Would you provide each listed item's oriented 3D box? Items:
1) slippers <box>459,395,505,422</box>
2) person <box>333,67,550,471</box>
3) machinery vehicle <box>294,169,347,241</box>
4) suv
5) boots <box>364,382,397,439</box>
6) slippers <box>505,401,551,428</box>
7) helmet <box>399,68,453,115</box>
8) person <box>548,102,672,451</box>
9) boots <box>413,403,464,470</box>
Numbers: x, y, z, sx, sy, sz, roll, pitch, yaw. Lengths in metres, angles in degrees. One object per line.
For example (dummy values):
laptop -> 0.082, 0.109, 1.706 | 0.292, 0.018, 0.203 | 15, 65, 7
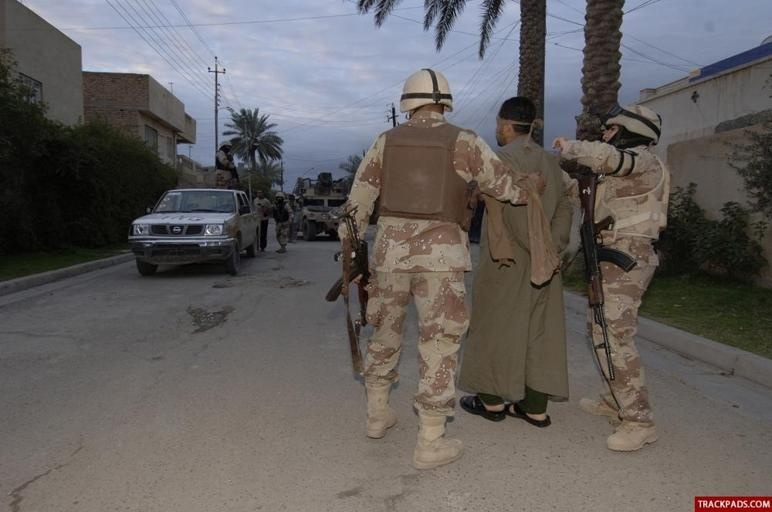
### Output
slippers -> 0.881, 1.357, 5.010 | 0.173, 0.137, 0.367 | -3, 6, -38
person -> 0.318, 0.017, 4.437 | 1.090, 2.971, 0.930 | 11, 16, 42
machinery vehicle -> -2.864, -2.255, 25.051 | 2.277, 2.670, 4.451 | -2, 9, -19
suv -> -3.832, -0.564, 11.753 | 1.624, 1.223, 2.867 | 0, 1, 3
boots -> -0.025, 1.285, 4.684 | 0.203, 0.438, 0.451 | -3, -3, 21
slippers -> 1.249, 1.419, 4.869 | 0.383, 0.142, 0.154 | 26, 23, 38
helmet -> 0.328, -1.375, 4.550 | 0.414, 0.369, 0.445 | -10, 19, -25
person -> 1.970, 0.135, 4.577 | 0.805, 2.736, 0.946 | 7, 14, 28
boots -> 0.421, 1.403, 4.308 | 0.488, 0.477, 0.223 | 0, 5, -39
